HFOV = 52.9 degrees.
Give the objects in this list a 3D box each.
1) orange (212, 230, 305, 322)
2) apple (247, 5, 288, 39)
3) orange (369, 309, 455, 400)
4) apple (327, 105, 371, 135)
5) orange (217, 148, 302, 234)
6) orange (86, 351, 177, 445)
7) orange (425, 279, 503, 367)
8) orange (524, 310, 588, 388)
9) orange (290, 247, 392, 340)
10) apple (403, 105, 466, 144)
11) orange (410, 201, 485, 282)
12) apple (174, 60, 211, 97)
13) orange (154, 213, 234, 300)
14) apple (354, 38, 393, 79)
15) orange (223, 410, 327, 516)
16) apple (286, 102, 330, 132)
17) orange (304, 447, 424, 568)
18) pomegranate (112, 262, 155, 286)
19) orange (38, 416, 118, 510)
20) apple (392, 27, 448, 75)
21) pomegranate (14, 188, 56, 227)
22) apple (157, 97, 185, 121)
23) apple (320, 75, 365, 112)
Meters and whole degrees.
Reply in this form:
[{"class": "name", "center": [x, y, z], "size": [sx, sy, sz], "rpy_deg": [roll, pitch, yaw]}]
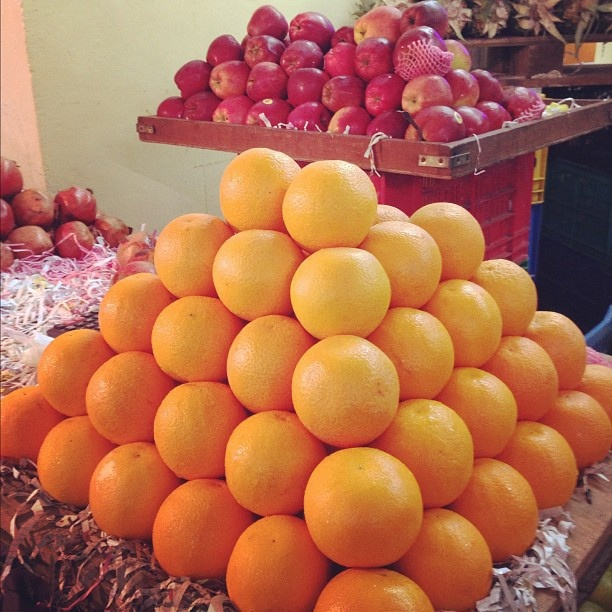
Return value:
[{"class": "orange", "center": [-0.068, -0.045, 0.922], "size": [0.157, 0.117, 0.127], "rpy_deg": [1, 2, 2]}, {"class": "apple", "center": [-0.131, -0.975, 2.115], "size": [0.140, 0.105, 0.144], "rpy_deg": [0, 28, -4]}, {"class": "orange", "center": [0.162, 0.069, 0.925], "size": [0.133, 0.126, 0.129], "rpy_deg": [-14, 3, -39]}, {"class": "apple", "center": [0.121, -0.501, 1.676], "size": [0.116, 0.066, 0.167], "rpy_deg": [3, 26, 1]}, {"class": "orange", "center": [-0.070, -0.168, 0.966], "size": [0.150, 0.135, 0.132], "rpy_deg": [9, 5, 8]}, {"class": "orange", "center": [-0.247, 0.129, 0.952], "size": [0.150, 0.134, 0.132], "rpy_deg": [-8, 6, -10]}, {"class": "orange", "center": [0.240, 0.028, 0.991], "size": [0.147, 0.131, 0.128], "rpy_deg": [4, 3, -1]}, {"class": "orange", "center": [0.432, 0.069, 1.052], "size": [0.138, 0.135, 0.131], "rpy_deg": [-7, -3, 18]}, {"class": "orange", "center": [0.045, -0.013, 0.863], "size": [0.153, 0.123, 0.115], "rpy_deg": [-2, 59, 11]}, {"class": "apple", "center": [0.298, -0.449, 1.510], "size": [0.111, 0.078, 0.198], "rpy_deg": [-14, 30, -27]}, {"class": "orange", "center": [0.183, -0.105, 0.983], "size": [0.145, 0.134, 0.128], "rpy_deg": [0, 6, 4]}, {"class": "apple", "center": [-0.398, -0.837, 2.223], "size": [0.109, 0.105, 0.094], "rpy_deg": [-9, 31, -38]}, {"class": "orange", "center": [-0.167, -0.078, 0.981], "size": [0.142, 0.128, 0.124], "rpy_deg": [-9, 2, -9]}, {"class": "apple", "center": [0.192, -0.695, 1.742], "size": [0.108, 0.118, 0.086], "rpy_deg": [3, 30, 1]}, {"class": "orange", "center": [-0.041, 0.205, 0.845], "size": [0.158, 0.119, 0.130], "rpy_deg": [-6, -2, 11]}, {"class": "apple", "center": [0.015, -0.563, 1.822], "size": [0.103, 0.071, 0.145], "rpy_deg": [-15, 32, -30]}, {"class": "orange", "center": [0.068, 0.239, 0.735], "size": [0.137, 0.108, 0.100], "rpy_deg": [2, 29, 0]}, {"class": "pomegranate", "center": [-0.406, -0.074, 1.445], "size": [0.101, 0.049, 0.106], "rpy_deg": [-10, -4, -3]}, {"class": "orange", "center": [-0.322, 0.236, 0.965], "size": [0.143, 0.129, 0.122], "rpy_deg": [4, 2, 6]}, {"class": "apple", "center": [0.305, -0.674, 1.645], "size": [0.160, 0.136, 0.144], "rpy_deg": [13, 30, 19]}, {"class": "pomegranate", "center": [-0.696, -0.245, 1.574], "size": [0.104, 0.097, 0.094], "rpy_deg": [-8, -6, -12]}, {"class": "apple", "center": [-0.482, -0.708, 2.206], "size": [0.100, 0.062, 0.157], "rpy_deg": [-4, 27, -12]}, {"class": "apple", "center": [0.096, -0.616, 1.782], "size": [0.168, 0.107, 0.113], "rpy_deg": [-1, 29, -1]}]
